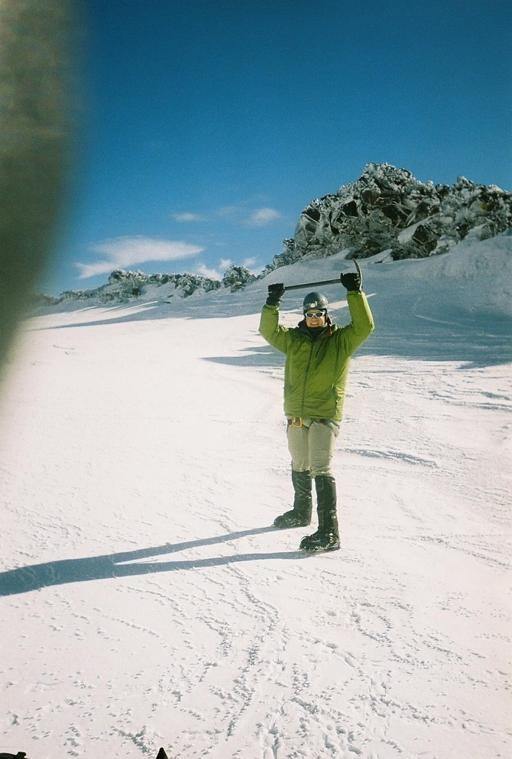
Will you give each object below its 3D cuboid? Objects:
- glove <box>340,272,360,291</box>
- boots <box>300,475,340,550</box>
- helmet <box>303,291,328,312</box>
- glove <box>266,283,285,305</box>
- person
[{"bbox_3d":[0.578,-0.600,4.206,0.119,0.105,0.102,-12,19,-31],"label":"glove"},{"bbox_3d":[0.419,0.805,4.214,0.229,0.386,0.461,5,5,8],"label":"boots"},{"bbox_3d":[0.388,-0.506,4.443,0.128,0.125,0.148,1,13,3],"label":"helmet"},{"bbox_3d":[0.149,-0.581,4.667,0.151,0.131,0.050,-1,1,43],"label":"glove"},{"bbox_3d":[0.364,0.148,4.502,0.715,1.702,1.115,4,5,-4],"label":"person"}]
